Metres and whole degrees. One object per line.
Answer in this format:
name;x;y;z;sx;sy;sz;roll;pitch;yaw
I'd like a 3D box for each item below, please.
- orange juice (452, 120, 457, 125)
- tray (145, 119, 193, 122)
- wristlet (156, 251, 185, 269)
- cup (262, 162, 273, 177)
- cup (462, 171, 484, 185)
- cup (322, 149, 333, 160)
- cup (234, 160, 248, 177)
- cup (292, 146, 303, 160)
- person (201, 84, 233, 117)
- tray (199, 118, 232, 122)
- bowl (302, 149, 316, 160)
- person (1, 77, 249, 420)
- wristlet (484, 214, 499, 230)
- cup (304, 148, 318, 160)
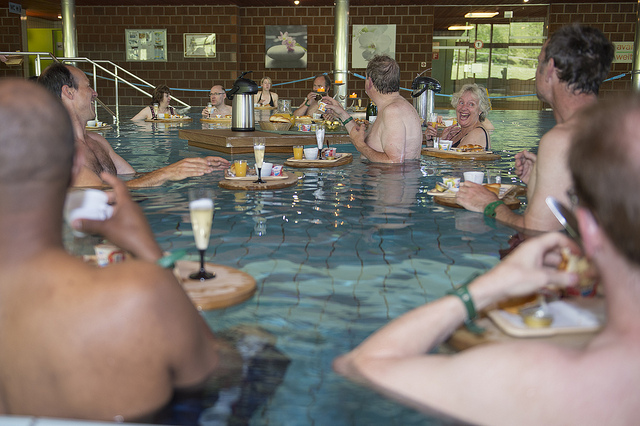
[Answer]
orange juice;1.866;-1.247;5.724;0.069;0.069;0.069;-1;0;0
tray;-2.919;-1.758;7.923;1.006;0.053;0.434;1;14;4
wristlet;-0.350;0.109;0.994;0.022;0.020;0.081;8;17;28
cup;-0.434;-0.355;3.439;0.106;0.073;0.100;0;3;0
cup;1.126;-0.261;3.047;0.125;0.085;0.114;0;-3;0
cup;0.081;-0.619;4.433;0.118;0.109;0.116;3;-10;1
cup;-0.632;-0.371;3.441;0.127;0.150;0.121;-1;-1;0
cup;-0.226;-0.621;4.274;0.091;0.130;0.104;-1;15;-3
person;-2.041;-2.272;8.463;0.909;0.606;0.511;6;14;21
tray;-1.774;-1.573;7.098;0.275;0.019;0.267;-1;2;-42
bowl;-0.108;-0.594;4.204;0.094;0.082;0.110;-1;-3;21
person;-0.508;0.123;0.957;0.457;0.821;0.256;-2;15;-7
wristlet;1.062;0.053;2.595;0.060;0.031;0.224;3;14;14
cup;-0.087;-0.601;4.202;0.107;0.077;0.107;-1;2;0
